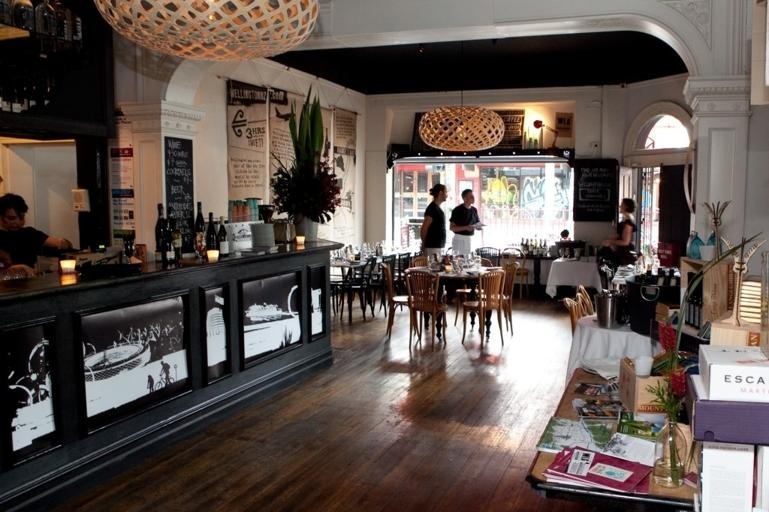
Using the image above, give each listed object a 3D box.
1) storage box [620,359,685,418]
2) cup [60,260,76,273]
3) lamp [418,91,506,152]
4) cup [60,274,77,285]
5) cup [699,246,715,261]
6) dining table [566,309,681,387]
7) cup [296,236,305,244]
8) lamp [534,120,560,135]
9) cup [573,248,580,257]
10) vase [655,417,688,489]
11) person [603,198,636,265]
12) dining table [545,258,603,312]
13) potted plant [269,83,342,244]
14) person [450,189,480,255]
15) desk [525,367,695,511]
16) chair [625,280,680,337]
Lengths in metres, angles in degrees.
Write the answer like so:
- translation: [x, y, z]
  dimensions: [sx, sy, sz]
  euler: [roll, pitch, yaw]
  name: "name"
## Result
- translation: [1.565, 0.774, 3.224]
  dimensions: [0.239, 0.208, 0.344]
  euler: [0, 4, 8]
  name: "storage box"
- translation: [-2.494, 0.078, 4.302]
  dimensions: [0.094, 0.079, 0.104]
  euler: [0, -3, -1]
  name: "cup"
- translation: [1.281, -2.147, 9.048]
  dimensions: [0.933, 0.978, 0.927]
  euler: [-2, 11, -26]
  name: "lamp"
- translation: [-2.425, 0.174, 4.192]
  dimensions: [0.112, 0.085, 0.115]
  euler: [3, 3, 0]
  name: "cup"
- translation: [2.514, -0.026, 4.229]
  dimensions: [0.105, 0.109, 0.105]
  euler: [1, 3, 0]
  name: "cup"
- translation: [1.832, 0.765, 4.602]
  dimensions: [0.685, 0.385, 0.684]
  euler: [-4, 12, -12]
  name: "dining table"
- translation: [-1.009, -0.204, 6.609]
  dimensions: [0.101, 0.105, 0.076]
  euler: [0, 10, -15]
  name: "cup"
- translation: [3.495, -2.774, 11.756]
  dimensions: [0.557, 0.319, 0.214]
  euler: [-2, 8, -12]
  name: "lamp"
- translation: [3.633, -0.072, 10.236]
  dimensions: [0.121, 0.156, 0.123]
  euler: [1, 9, 0]
  name: "cup"
- translation: [1.376, 0.899, 2.623]
  dimensions: [0.133, 0.397, 0.137]
  euler: [4, 10, 36]
  name: "vase"
- translation: [3.956, -0.427, 9.170]
  dimensions: [0.582, 1.112, 0.638]
  euler: [6, 10, 39]
  name: "person"
- translation: [3.706, 0.601, 10.169]
  dimensions: [1.214, 0.696, 1.269]
  euler: [-2, -34, 27]
  name: "dining table"
- translation: [-0.953, -1.067, 6.621]
  dimensions: [0.809, 1.812, 0.610]
  euler: [-1, 7, -7]
  name: "potted plant"
- translation: [1.518, -0.630, 10.066]
  dimensions: [0.558, 1.162, 0.652]
  euler: [1, 7, 6]
  name: "person"
- translation: [1.338, 0.915, 3.102]
  dimensions: [0.725, 0.318, 1.509]
  euler: [4, 9, 27]
  name: "desk"
- translation: [2.192, 0.422, 4.468]
  dimensions: [0.366, 0.351, 0.420]
  euler: [2, 0, 32]
  name: "chair"
